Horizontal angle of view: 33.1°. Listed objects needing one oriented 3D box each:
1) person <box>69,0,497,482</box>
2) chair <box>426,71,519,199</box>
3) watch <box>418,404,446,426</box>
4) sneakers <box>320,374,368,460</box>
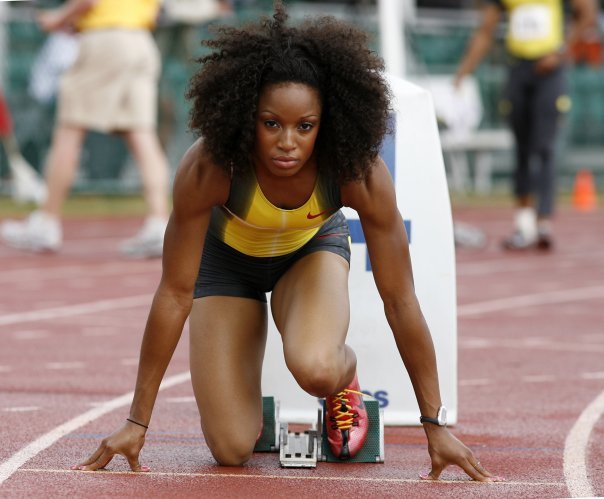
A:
[{"bbox_3d":[-0.091,-0.034,3.977,1.294,1.778,0.620,0,10,1],"label":"person"},{"bbox_3d":[1.912,-1.360,11.385,0.772,1.416,2.170,-2,9,6],"label":"chair"},{"bbox_3d":[0.492,0.624,3.836,0.090,0.049,0.064,-5,-10,21],"label":"watch"},{"bbox_3d":[0.173,0.682,4.166,0.136,0.358,0.142,-8,-17,10],"label":"sneakers"}]
